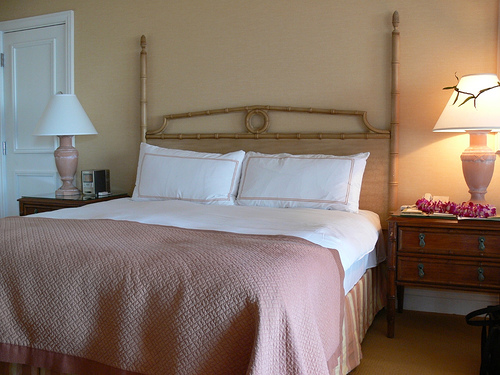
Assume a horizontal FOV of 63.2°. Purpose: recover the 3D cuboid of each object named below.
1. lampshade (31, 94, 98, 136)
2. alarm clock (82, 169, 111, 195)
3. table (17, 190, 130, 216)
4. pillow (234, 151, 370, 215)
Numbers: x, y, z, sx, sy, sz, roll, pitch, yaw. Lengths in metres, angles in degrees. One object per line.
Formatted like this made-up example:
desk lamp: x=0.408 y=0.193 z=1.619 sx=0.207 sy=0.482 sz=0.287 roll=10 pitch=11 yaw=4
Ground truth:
lampshade: x=-1.860 y=-0.674 z=3.988 sx=0.341 sy=0.599 sz=0.351 roll=1 pitch=2 yaw=25
alarm clock: x=-1.574 y=-0.047 z=4.166 sx=0.150 sy=0.255 sz=0.257 roll=3 pitch=9 yaw=14
table: x=-1.719 y=0.104 z=4.177 sx=0.889 sy=0.234 sz=0.730 roll=3 pitch=4 yaw=20
pillow: x=0.395 y=-0.038 z=3.332 sx=1.088 sy=0.567 sz=0.228 roll=3 pitch=-27 yaw=24
